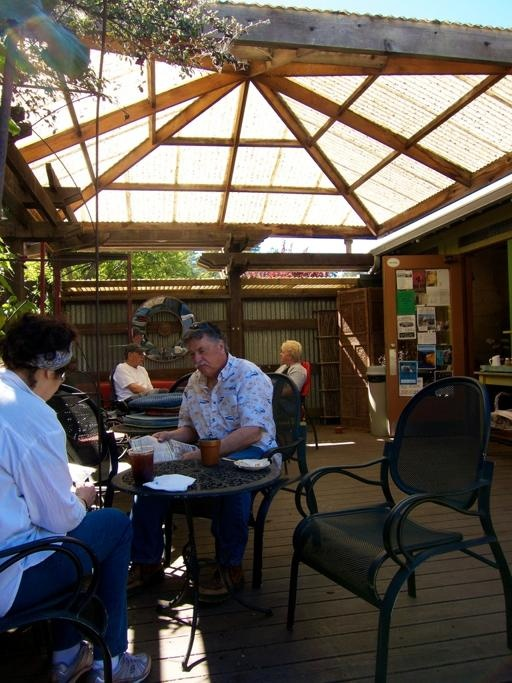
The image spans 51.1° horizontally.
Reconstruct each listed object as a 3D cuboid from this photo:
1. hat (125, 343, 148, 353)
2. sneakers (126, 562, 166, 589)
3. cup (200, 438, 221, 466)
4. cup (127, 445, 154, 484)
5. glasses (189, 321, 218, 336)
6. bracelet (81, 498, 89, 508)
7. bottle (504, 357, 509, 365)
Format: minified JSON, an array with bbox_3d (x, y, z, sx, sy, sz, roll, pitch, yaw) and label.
[{"bbox_3d":[-1.272,0.066,5.676,0.160,0.072,0.098,0,1,-9],"label":"hat"},{"bbox_3d":[-0.497,1.049,2.405,0.201,0.114,0.067,6,-8,-27],"label":"sneakers"},{"bbox_3d":[-0.177,0.420,2.061,0.097,0.096,0.094,-2,-2,0],"label":"cup"},{"bbox_3d":[-0.382,0.410,1.787,0.108,0.109,0.105,-2,-9,0],"label":"cup"},{"bbox_3d":[-0.224,-0.059,2.511,0.087,0.024,0.083,3,-31,18],"label":"glasses"},{"bbox_3d":[-0.532,0.503,1.664,0.026,0.034,0.016,1,-24,-26],"label":"bracelet"},{"bbox_3d":[2.993,0.226,6.350,0.065,0.092,0.061,5,-6,1],"label":"bottle"}]
